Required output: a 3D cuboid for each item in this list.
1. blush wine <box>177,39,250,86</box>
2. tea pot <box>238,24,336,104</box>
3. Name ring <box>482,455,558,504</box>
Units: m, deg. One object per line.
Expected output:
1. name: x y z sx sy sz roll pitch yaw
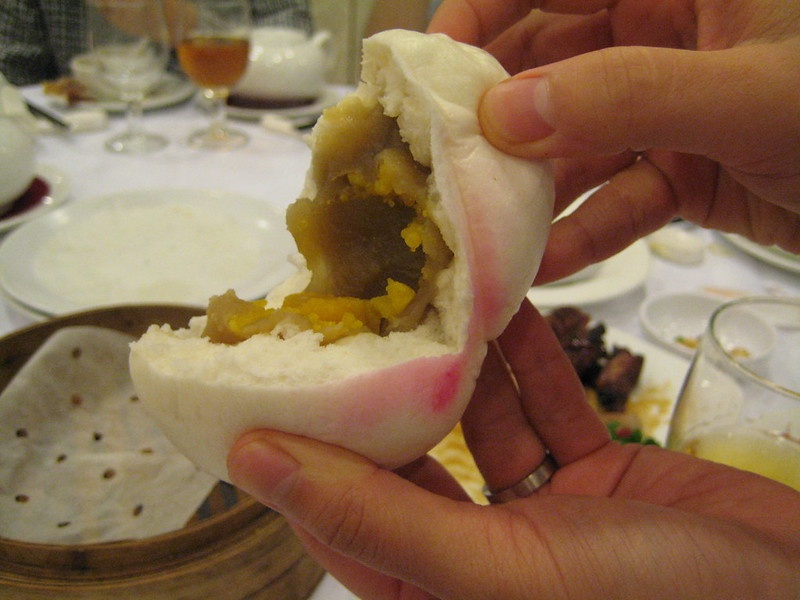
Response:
1. blush wine: -0.550 -0.700 2.194 0.169 0.104 0.162 -7 29 -15
2. tea pot: -0.396 -0.806 2.588 0.232 0.326 0.276 1 20 -5
3. Name ring: 0.228 0.337 1.404 0.097 0.097 0.027 -25 90 -60
